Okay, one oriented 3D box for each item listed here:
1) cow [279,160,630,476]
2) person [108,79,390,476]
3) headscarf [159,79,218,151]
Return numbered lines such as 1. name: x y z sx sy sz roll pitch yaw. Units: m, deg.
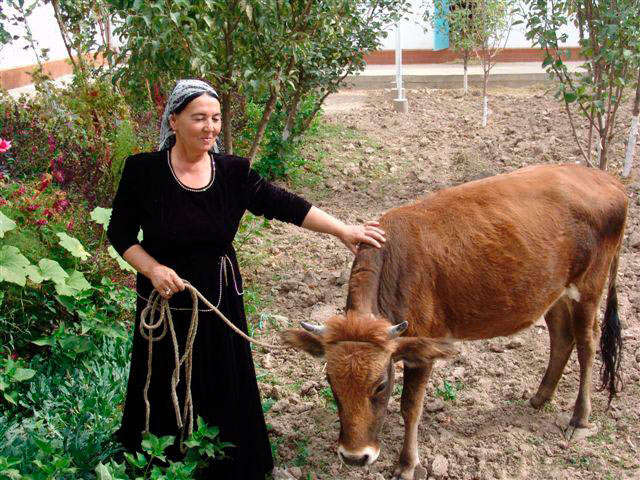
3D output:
1. cow: 1.244 0.646 4.104 2.944 2.126 0.968 -13 20 -28
2. person: -0.741 0.368 3.723 1.567 2.864 0.744 -12 19 -26
3. headscarf: -0.896 -0.842 3.526 0.413 0.473 0.399 0 3 -4
